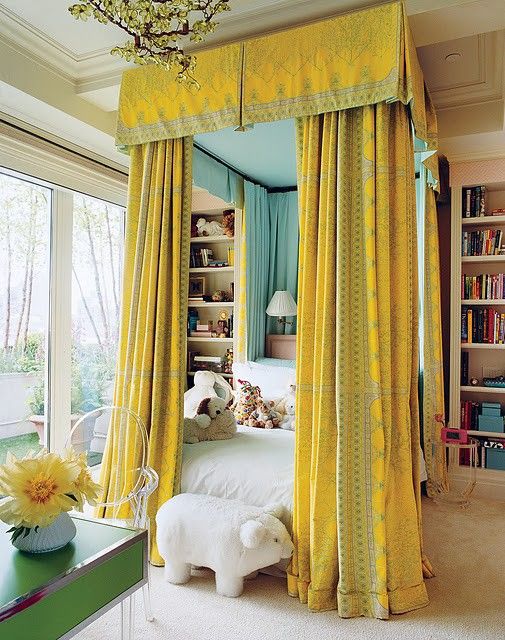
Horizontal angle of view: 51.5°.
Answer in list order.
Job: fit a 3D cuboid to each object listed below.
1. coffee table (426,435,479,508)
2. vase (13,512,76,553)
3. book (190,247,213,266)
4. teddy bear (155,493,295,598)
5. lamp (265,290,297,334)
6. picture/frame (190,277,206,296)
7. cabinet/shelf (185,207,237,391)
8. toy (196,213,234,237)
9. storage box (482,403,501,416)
[{"bbox_3d":[1.372,0.984,3.558,0.296,0.395,0.599,0,-1,23],"label":"coffee table"},{"bbox_3d":[-0.654,0.649,1.641,0.178,0.137,0.173,5,-18,-26],"label":"vase"},{"bbox_3d":[-0.454,-0.537,4.788,0.162,0.208,0.219,-2,-2,21],"label":"book"},{"bbox_3d":[-0.128,0.931,2.252,0.568,0.310,0.321,2,8,18],"label":"teddy bear"},{"bbox_3d":[0.232,-0.075,4.223,0.246,0.306,0.236,0,13,-8],"label":"lamp"},{"bbox_3d":[-0.502,-0.314,4.827,0.173,0.193,0.102,-2,-7,24],"label":"picture/frame"},{"bbox_3d":[-0.381,-0.336,4.761,0.455,1.151,0.133,-8,-21,14],"label":"cabinet/shelf"},{"bbox_3d":[-0.329,-0.830,4.630,0.351,0.180,0.182,-1,1,26],"label":"toy"},{"bbox_3d":[1.719,0.638,3.761,0.118,0.086,0.179,0,-1,27],"label":"storage box"}]
